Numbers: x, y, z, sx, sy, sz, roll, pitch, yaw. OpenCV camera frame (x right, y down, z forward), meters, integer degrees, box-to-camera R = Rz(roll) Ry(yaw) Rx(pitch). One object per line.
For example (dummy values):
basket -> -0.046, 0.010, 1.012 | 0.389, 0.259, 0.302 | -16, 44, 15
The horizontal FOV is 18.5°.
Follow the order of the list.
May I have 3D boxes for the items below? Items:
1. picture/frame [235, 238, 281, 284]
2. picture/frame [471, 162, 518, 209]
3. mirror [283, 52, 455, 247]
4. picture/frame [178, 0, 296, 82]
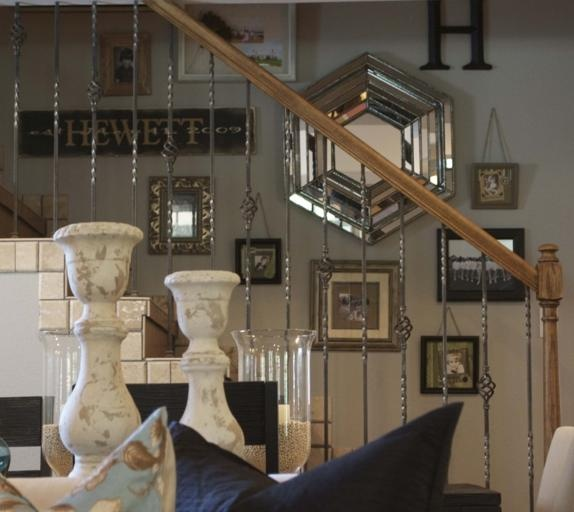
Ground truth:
picture/frame -> -0.167, 0.024, 10.311 | 0.229, 0.285, 0.020 | 0, -2, -1
picture/frame -> 1.256, -0.432, 10.648 | 0.209, 0.254, 0.017 | -6, -1, -7
mirror -> 0.474, -0.591, 10.297 | 0.900, 1.198, 0.221 | 11, 0, 1
picture/frame -> -0.302, -1.250, 10.188 | 0.601, 0.506, 0.027 | 0, -9, -3
